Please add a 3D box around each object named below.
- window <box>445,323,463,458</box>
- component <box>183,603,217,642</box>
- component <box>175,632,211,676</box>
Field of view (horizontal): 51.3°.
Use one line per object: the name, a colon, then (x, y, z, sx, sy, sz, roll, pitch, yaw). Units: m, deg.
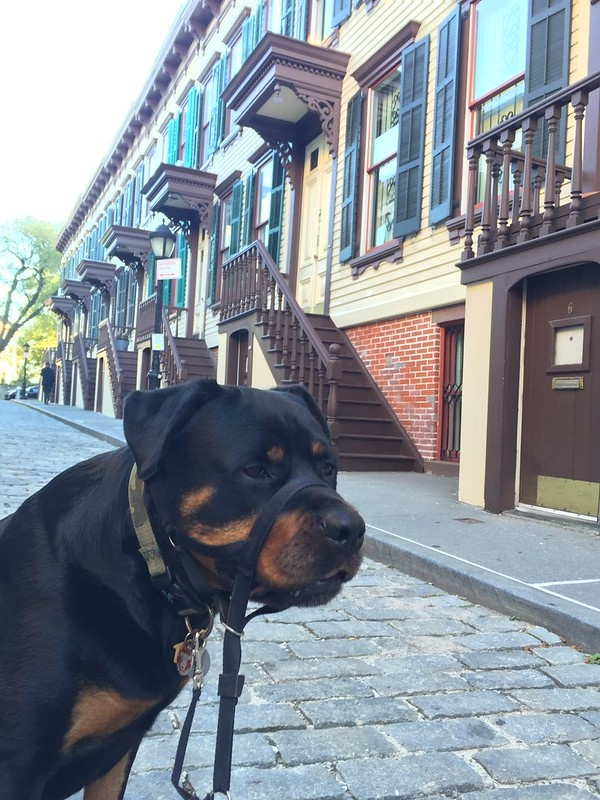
window: (2.095, -0.108, 8.570, 0.155, 1.784, 0.451, 5, -1, -14)
component: (-0.191, 0.429, 1.228, 0.072, 0.088, 0.032, 8, 3, 22)
component: (-0.205, 0.491, 1.206, 0.064, 0.093, 0.027, -1, -2, 34)
